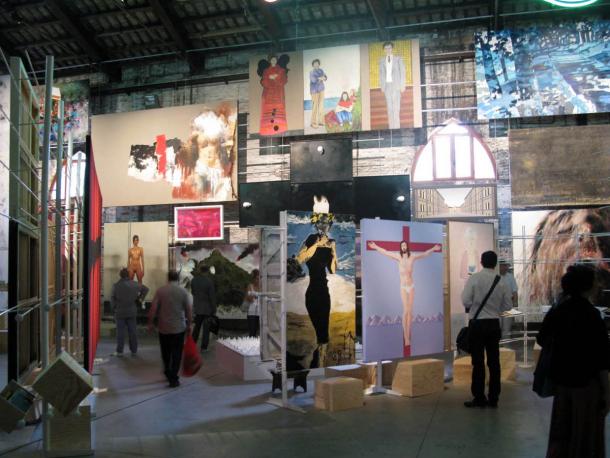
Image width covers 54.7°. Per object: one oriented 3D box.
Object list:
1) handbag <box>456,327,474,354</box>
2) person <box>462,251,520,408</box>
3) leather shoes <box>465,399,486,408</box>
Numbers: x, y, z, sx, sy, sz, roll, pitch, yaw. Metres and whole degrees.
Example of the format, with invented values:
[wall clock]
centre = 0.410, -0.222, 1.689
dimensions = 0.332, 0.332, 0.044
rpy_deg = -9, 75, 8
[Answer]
[handbag]
centre = 2.102, 1.454, 7.643
dimensions = 0.257, 0.362, 0.123
rpy_deg = 0, -7, 39
[person]
centre = 2.332, 1.269, 7.586
dimensions = 0.596, 1.970, 0.361
rpy_deg = 0, 1, 15
[leather shoes]
centre = 2.178, 2.229, 7.599
dimensions = 0.271, 0.128, 0.103
rpy_deg = 2, -8, 10
